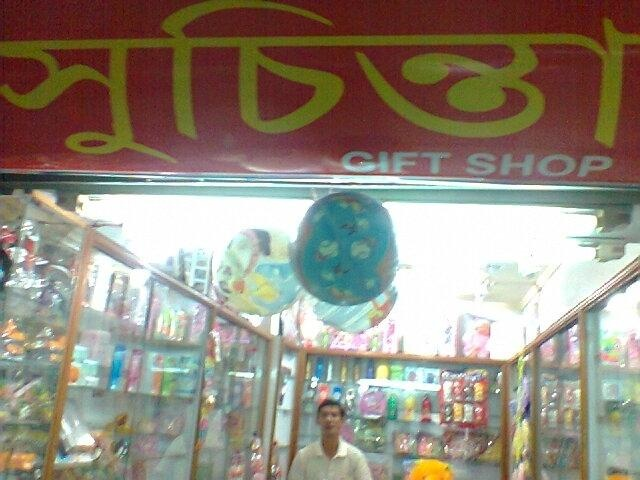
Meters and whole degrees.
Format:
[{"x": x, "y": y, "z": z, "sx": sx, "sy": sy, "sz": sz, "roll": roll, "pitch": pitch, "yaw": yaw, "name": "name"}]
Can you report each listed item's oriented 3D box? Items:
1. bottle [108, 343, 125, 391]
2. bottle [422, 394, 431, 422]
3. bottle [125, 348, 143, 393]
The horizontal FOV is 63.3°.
[{"x": -1.204, "y": 0.768, "z": 3.107, "sx": 0.070, "sy": 0.219, "sz": 0.078, "roll": 2, "pitch": -12, "yaw": 33, "name": "bottle"}, {"x": 1.164, "y": 1.833, "z": 5.612, "sx": 0.115, "sy": 0.279, "sz": 0.054, "roll": 6, "pitch": -19, "yaw": -6, "name": "bottle"}, {"x": -1.157, "y": 0.827, "z": 3.253, "sx": 0.061, "sy": 0.220, "sz": 0.126, "roll": 3, "pitch": -2, "yaw": 45, "name": "bottle"}]
